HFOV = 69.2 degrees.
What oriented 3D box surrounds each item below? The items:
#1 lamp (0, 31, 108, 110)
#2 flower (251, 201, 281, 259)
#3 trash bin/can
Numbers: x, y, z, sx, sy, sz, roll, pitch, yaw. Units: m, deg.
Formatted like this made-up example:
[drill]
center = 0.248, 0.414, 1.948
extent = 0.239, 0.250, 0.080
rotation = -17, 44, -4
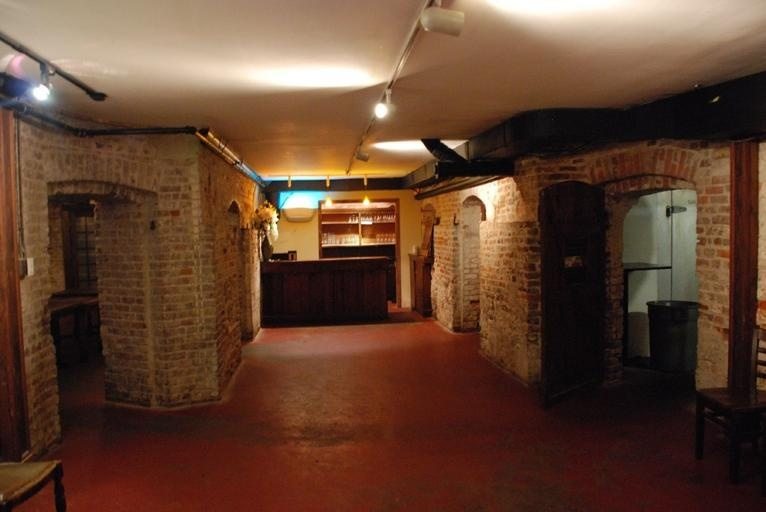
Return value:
[lamp]
center = -3.119, -1.740, 5.190
extent = 0.533, 0.169, 0.540
rotation = 8, -11, -9
[flower]
center = -2.319, -0.471, 11.016
extent = 0.382, 1.156, 0.915
rotation = -2, 11, -3
[trash bin/can]
center = 4.049, 1.136, 7.918
extent = 0.618, 0.881, 0.627
rotation = 2, -3, -19
